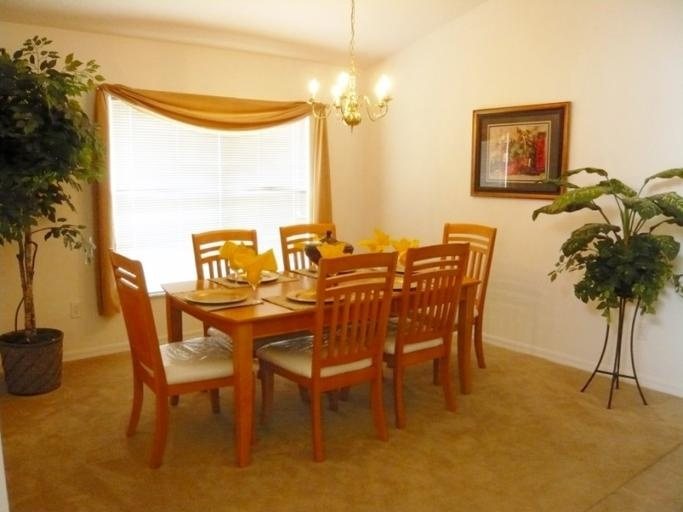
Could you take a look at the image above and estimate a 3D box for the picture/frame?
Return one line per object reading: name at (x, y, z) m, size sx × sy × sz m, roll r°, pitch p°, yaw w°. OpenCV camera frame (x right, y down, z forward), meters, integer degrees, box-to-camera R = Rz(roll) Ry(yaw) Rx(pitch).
picture/frame at (1.606, -0.933, 4.617) m, size 0.074 × 0.893 × 0.965 m, roll -5°, pitch 9°, yaw -43°
